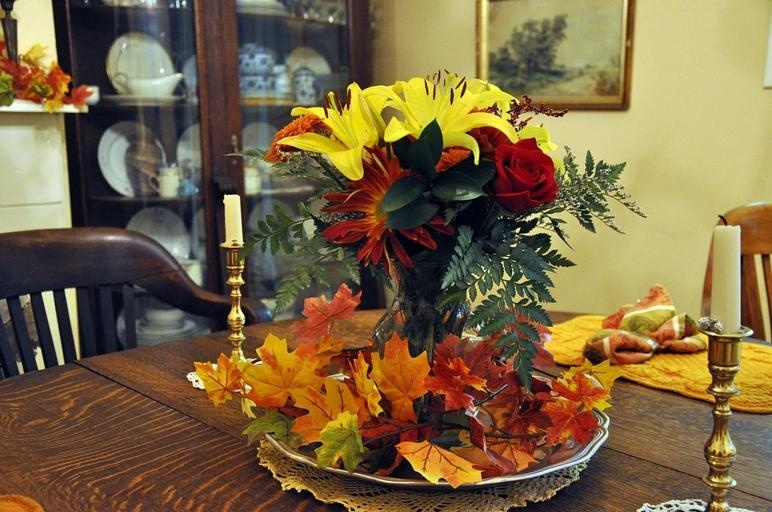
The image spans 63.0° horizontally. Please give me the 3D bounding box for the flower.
[{"bbox_3d":[0.087,-0.023,1.022,0.550,0.539,0.396,-7,13,-25],"label":"flower"}]

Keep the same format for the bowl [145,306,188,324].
[{"bbox_3d":[-0.834,0.223,2.368,0.111,0.040,0.106,0,1,0],"label":"bowl"}]

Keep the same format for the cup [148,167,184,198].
[{"bbox_3d":[-0.823,-0.281,2.377,0.144,0.117,0.086,-1,10,-20],"label":"cup"}]

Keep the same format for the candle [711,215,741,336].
[{"bbox_3d":[0.459,0.025,0.851,0.041,0.139,0.094,5,14,27],"label":"candle"}]

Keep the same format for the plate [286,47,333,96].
[{"bbox_3d":[-0.334,-0.805,2.712,0.155,0.137,0.149,1,7,7],"label":"plate"}]

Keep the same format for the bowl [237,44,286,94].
[{"bbox_3d":[-0.507,-0.744,2.554,0.204,0.173,0.185,-1,4,0],"label":"bowl"}]

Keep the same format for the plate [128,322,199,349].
[{"bbox_3d":[-0.732,0.256,2.037,0.166,0.049,0.159,-1,2,3],"label":"plate"}]
